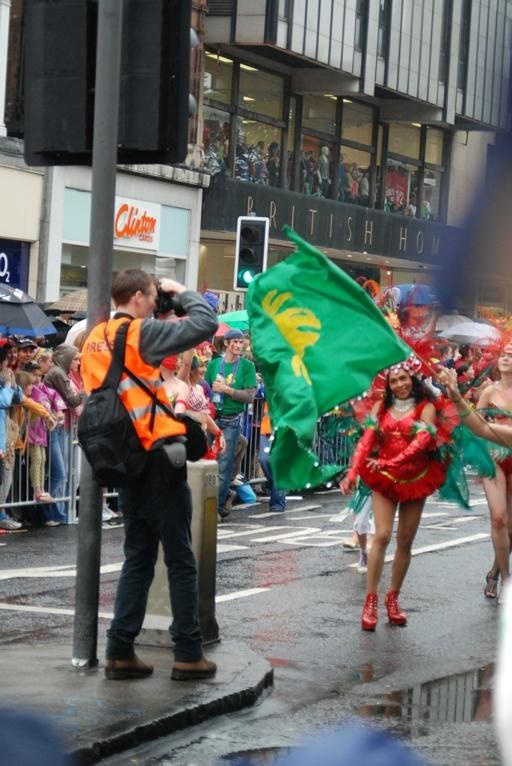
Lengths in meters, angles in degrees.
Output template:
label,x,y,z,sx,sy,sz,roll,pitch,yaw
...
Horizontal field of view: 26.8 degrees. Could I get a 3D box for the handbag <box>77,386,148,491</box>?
label,x,y,z,sx,sy,sz,roll,pitch,yaw
handbag,-0.587,0.217,4.446,0.238,0.427,0.319,-27,-11,-1

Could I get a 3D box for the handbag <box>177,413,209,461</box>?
label,x,y,z,sx,sy,sz,roll,pitch,yaw
handbag,-0.260,0.236,4.756,0.080,0.195,0.143,-15,21,-20

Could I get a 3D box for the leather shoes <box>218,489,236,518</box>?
label,x,y,z,sx,sy,sz,roll,pitch,yaw
leather shoes,-0.359,1.322,11.975,0.121,0.152,0.365,-4,27,16

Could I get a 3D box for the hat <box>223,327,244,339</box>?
label,x,y,z,sx,sy,sz,roll,pitch,yaw
hat,-0.248,-0.534,11.388,0.133,0.087,0.132,2,-2,3

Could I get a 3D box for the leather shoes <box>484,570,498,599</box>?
label,x,y,z,sx,sy,sz,roll,pitch,yaw
leather shoes,1.757,1.492,8.002,0.076,0.253,0.102,2,-22,13

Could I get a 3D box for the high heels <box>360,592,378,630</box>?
label,x,y,z,sx,sy,sz,roll,pitch,yaw
high heels,0.714,1.446,6.780,0.078,0.145,0.254,5,14,-1

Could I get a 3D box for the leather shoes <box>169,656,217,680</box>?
label,x,y,z,sx,sy,sz,roll,pitch,yaw
leather shoes,-0.289,1.263,4.808,0.191,0.131,0.083,-10,15,-37

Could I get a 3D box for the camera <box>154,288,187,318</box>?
label,x,y,z,sx,sy,sz,roll,pitch,yaw
camera,-0.400,-0.358,4.864,0.073,0.095,0.171,-20,-24,40

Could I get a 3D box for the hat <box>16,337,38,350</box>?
label,x,y,z,sx,sy,sz,roll,pitch,yaw
hat,-2.255,-0.398,10.440,0.184,0.101,0.280,2,-1,-23
